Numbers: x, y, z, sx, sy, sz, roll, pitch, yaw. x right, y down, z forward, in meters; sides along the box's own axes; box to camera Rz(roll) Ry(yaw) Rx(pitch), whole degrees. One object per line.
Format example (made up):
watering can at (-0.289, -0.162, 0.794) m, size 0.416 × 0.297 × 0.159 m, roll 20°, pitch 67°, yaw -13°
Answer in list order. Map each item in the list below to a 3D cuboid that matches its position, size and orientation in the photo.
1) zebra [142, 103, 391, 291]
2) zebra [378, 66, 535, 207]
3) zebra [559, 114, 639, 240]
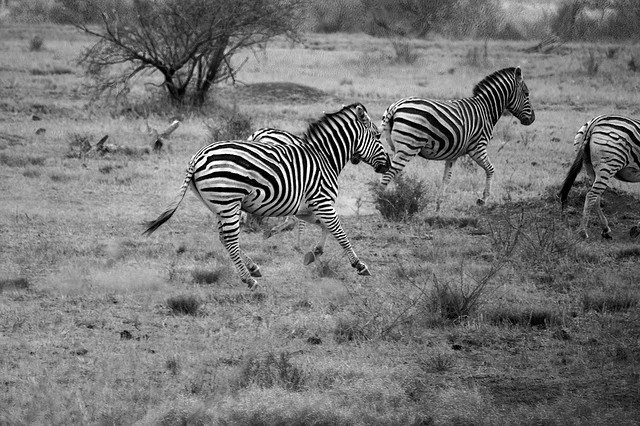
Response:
zebra at (-0.563, -0.196, 12.660) m, size 3.585 × 2.368 × 0.803 m, roll -5°, pitch 8°, yaw -28°
zebra at (2.027, -1.128, 14.689) m, size 2.763 × 2.207 × 0.846 m, roll -2°, pitch 11°, yaw -24°
zebra at (3.944, -0.521, 13.855) m, size 1.046 × 1.697 × 0.636 m, roll 6°, pitch 14°, yaw 14°
